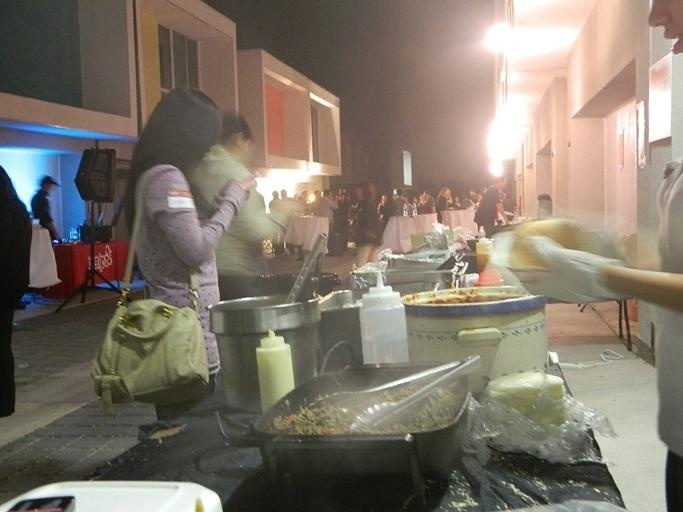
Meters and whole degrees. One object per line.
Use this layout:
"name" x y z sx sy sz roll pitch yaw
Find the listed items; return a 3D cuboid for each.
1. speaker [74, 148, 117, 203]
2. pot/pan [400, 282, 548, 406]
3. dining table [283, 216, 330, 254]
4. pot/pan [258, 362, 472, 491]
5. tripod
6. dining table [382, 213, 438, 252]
"speaker" -3.491 -1.122 6.930 0.319 0.766 0.496 0 6 23
"pot/pan" 0.317 0.185 1.200 0.247 0.187 0.285 -4 -2 4
"dining table" -0.831 -0.567 11.020 0.919 0.763 1.011 2 -5 6
"pot/pan" 0.042 0.309 0.896 0.257 0.074 0.266 -10 16 21
"tripod" -3.727 -0.043 7.049 0.676 1.403 1.586 -5 6 -26
"dining table" 0.907 -0.313 6.700 0.306 0.464 1.036 3 8 43
